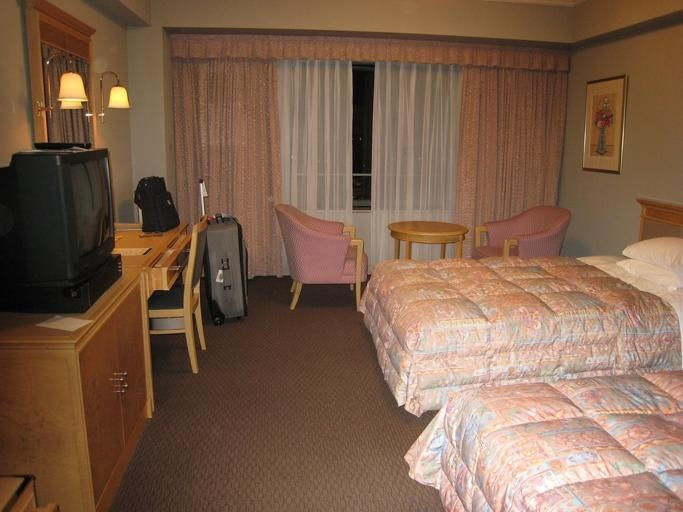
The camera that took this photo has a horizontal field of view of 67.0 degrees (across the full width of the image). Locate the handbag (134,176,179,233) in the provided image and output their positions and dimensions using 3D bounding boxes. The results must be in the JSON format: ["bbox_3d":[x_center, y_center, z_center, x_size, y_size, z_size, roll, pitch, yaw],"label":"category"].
[{"bbox_3d":[-1.719,-0.483,4.677,0.237,0.484,0.305,-4,13,2],"label":"handbag"}]

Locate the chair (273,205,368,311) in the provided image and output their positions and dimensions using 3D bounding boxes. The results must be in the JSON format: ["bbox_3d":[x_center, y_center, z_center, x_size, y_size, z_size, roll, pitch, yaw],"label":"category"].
[{"bbox_3d":[-0.262,-0.141,5.984,1.070,1.331,1.042,-1,14,-5],"label":"chair"}]

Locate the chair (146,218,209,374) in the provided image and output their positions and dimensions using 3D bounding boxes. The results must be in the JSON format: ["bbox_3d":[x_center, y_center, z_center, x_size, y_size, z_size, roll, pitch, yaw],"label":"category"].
[{"bbox_3d":[-1.413,0.326,4.204,0.600,1.028,0.627,-2,10,3],"label":"chair"}]

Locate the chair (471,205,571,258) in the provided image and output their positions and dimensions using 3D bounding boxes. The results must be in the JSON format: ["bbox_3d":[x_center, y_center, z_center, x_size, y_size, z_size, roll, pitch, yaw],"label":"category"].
[{"bbox_3d":[2.123,-0.314,6.202,0.772,0.992,0.756,0,13,-3],"label":"chair"}]

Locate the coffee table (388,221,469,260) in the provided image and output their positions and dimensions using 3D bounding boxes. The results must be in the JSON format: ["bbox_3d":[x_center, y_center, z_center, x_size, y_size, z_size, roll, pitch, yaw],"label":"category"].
[{"bbox_3d":[0.983,-0.278,6.037,0.575,0.504,0.607,-1,7,0],"label":"coffee table"}]

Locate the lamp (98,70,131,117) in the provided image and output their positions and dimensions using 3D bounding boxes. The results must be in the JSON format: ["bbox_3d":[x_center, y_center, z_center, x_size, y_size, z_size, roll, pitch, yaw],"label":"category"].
[{"bbox_3d":[-2.062,-1.468,4.697,0.260,0.429,0.256,-6,13,-30],"label":"lamp"}]
